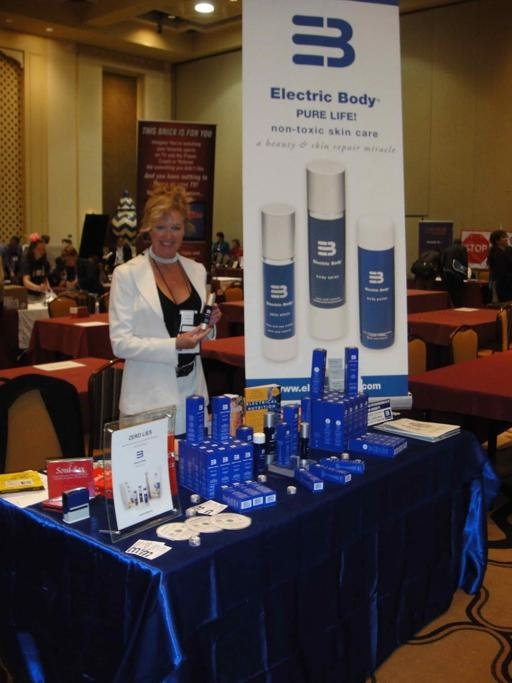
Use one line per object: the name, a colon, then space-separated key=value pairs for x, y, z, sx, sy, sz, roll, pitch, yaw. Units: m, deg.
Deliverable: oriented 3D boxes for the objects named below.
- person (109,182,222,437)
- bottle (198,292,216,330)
person: x=-0.346 y=-0.103 z=2.113 sx=0.412 sy=0.896 sz=0.500 roll=0 pitch=5 yaw=0
bottle: x=-0.172 y=-0.103 z=2.052 sx=0.039 sy=0.152 sz=0.040 roll=12 pitch=0 yaw=0
